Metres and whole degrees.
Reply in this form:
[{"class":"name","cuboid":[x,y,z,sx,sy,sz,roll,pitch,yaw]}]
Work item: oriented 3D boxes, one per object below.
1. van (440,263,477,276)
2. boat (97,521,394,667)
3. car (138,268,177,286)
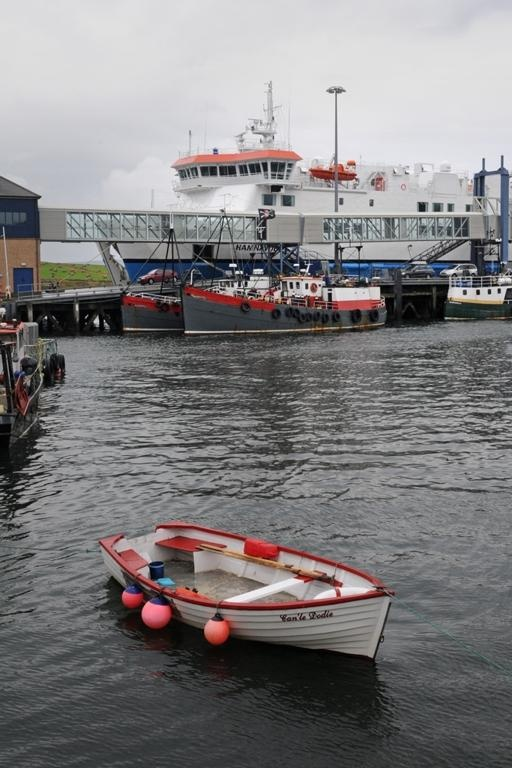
[{"class":"van","cuboid":[18.633,-10.273,77.584,3.698,1.574,2.077,0,8,-9]},{"class":"boat","cuboid":[-0.205,2.772,11.750,1.854,1.080,4.609,-9,12,-41]},{"class":"car","cuboid":[-8.223,-9.156,72.010,3.944,1.468,1.794,-3,4,-36]}]
